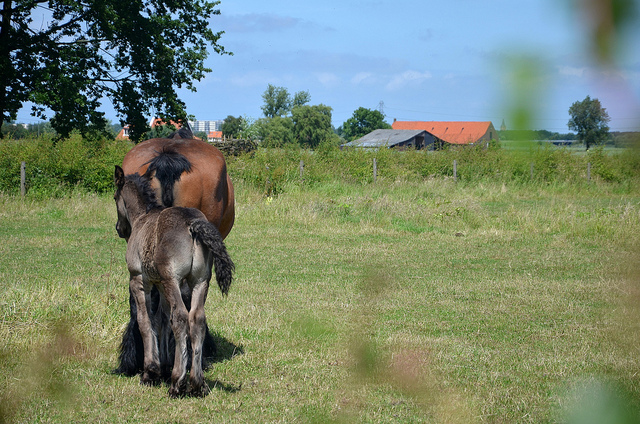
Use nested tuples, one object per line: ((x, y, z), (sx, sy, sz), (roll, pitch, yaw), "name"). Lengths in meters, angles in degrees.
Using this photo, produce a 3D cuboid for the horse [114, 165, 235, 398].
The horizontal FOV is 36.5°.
((-3.004, 1.456, 19.164), (2.455, 4.275, 0.930), (6, 5, 34), "horse")
